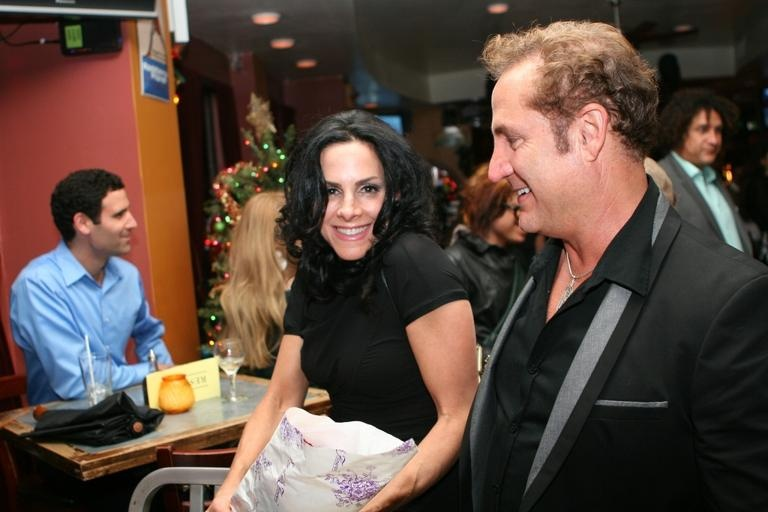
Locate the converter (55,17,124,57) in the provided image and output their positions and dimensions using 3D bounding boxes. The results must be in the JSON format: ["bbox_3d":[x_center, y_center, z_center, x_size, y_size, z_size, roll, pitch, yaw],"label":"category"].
[{"bbox_3d":[-1.696,-1.264,3.825,0.346,0.179,0.216,-2,7,-2],"label":"converter"}]

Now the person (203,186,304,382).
[{"bbox_3d":[-0.752,0.168,3.871,0.416,0.963,0.358,5,17,7],"label":"person"}]
